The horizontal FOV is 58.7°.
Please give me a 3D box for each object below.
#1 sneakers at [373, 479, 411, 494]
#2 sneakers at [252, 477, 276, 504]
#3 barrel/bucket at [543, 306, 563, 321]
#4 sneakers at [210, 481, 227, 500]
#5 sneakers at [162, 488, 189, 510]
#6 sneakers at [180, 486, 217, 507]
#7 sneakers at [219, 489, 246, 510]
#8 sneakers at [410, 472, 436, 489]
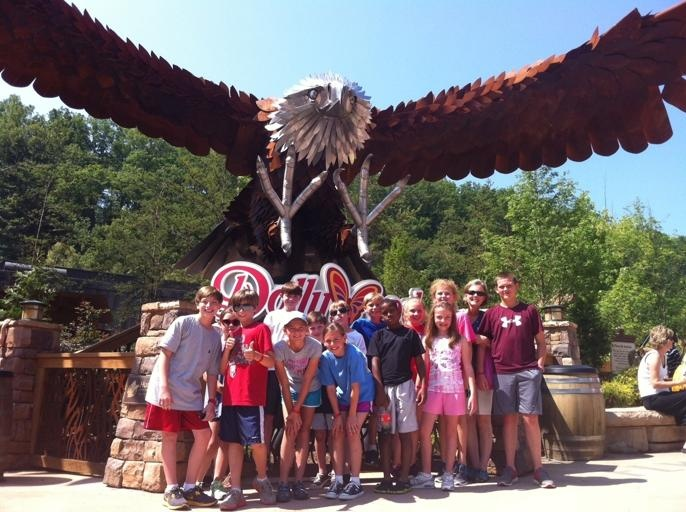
[{"bbox_3d":[0.577,2.671,7.142,0.264,0.114,0.189,8,-41,7],"label":"sneakers"},{"bbox_3d":[-0.893,2.653,6.980,0.143,0.160,0.336,16,9,-43],"label":"sneakers"},{"bbox_3d":[6.496,1.742,18.770,0.433,0.376,0.484,-1,-15,4],"label":"barrel/bucket"},{"bbox_3d":[-1.442,2.706,7.052,0.103,0.145,0.301,13,-22,-29],"label":"sneakers"},{"bbox_3d":[-1.870,2.707,6.798,0.145,0.174,0.341,13,-23,-35],"label":"sneakers"},{"bbox_3d":[-1.631,2.718,6.955,0.434,0.242,0.178,5,-11,1],"label":"sneakers"},{"bbox_3d":[-1.238,2.719,6.819,0.290,0.222,0.244,4,-18,-12],"label":"sneakers"},{"bbox_3d":[0.970,2.726,7.426,0.344,0.208,0.144,-2,-6,2],"label":"sneakers"}]
